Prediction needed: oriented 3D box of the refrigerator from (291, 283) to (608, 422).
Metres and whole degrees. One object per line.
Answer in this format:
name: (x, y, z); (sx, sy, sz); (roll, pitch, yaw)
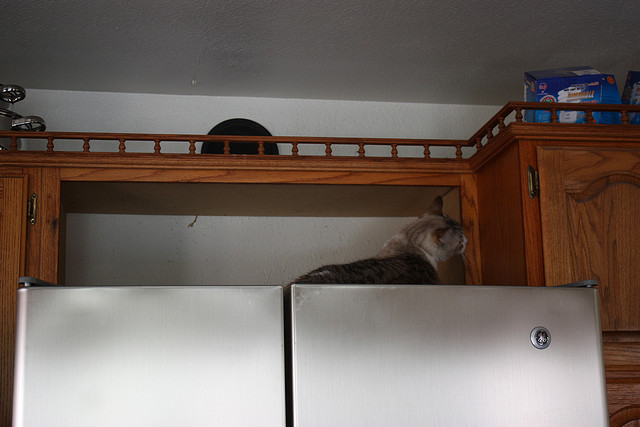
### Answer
refrigerator: (0.253, 0.263, 0.961); (0.614, 0.250, 0.122); (0, -28, -7)

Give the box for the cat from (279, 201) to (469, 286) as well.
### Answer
cat: (0.218, 0.104, 1.674); (0.554, 0.335, 0.181); (8, -29, -21)

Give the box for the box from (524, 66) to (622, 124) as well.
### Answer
box: (0.813, -0.376, 1.665); (0.306, 0.178, 0.149); (1, -24, -3)
